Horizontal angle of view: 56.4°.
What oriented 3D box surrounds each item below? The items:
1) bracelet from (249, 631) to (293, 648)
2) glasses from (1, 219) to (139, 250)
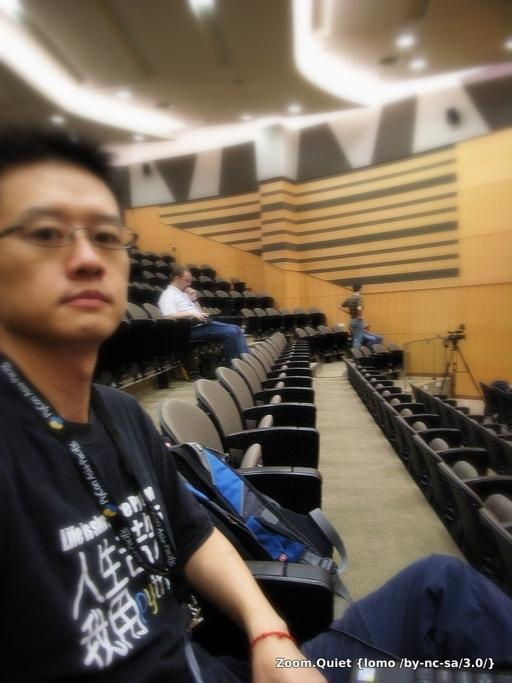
[{"bbox_3d":[0.025,0.383,0.624,0.032,0.007,0.026,-1,4,20],"label":"bracelet"},{"bbox_3d":[-0.221,-0.131,0.582,0.037,0.038,0.155,4,8,40],"label":"glasses"}]
